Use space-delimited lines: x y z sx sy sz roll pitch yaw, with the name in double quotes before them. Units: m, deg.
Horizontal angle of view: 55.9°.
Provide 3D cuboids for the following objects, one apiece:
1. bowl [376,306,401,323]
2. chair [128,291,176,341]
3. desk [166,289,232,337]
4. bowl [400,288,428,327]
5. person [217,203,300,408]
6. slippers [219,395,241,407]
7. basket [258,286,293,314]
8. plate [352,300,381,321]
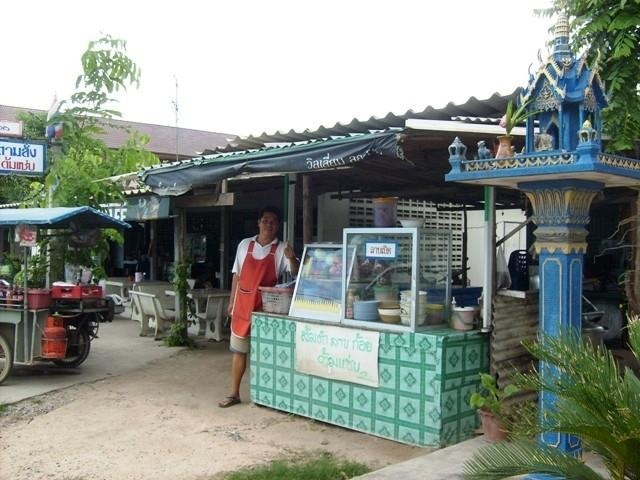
"bowl" 0.786 0.810 6.640 0.182 0.088 0.180 2 -2 0
"chair" -3.403 1.494 12.652 1.165 1.114 0.891 5 7 43
"desk" -2.435 1.539 12.386 0.998 0.763 1.475 13 -9 -37
"bowl" 0.994 0.733 6.480 0.332 0.332 0.331 2 -3 0
"person" -0.804 0.840 8.004 1.068 2.523 0.714 -2 3 -3
"slippers" -1.148 2.065 7.774 0.274 0.116 0.106 4 -6 -40
"basket" -0.557 0.752 7.613 0.293 0.258 0.397 4 -2 -42
"plate" 0.536 0.785 6.788 0.234 0.150 0.235 1 -5 -6
